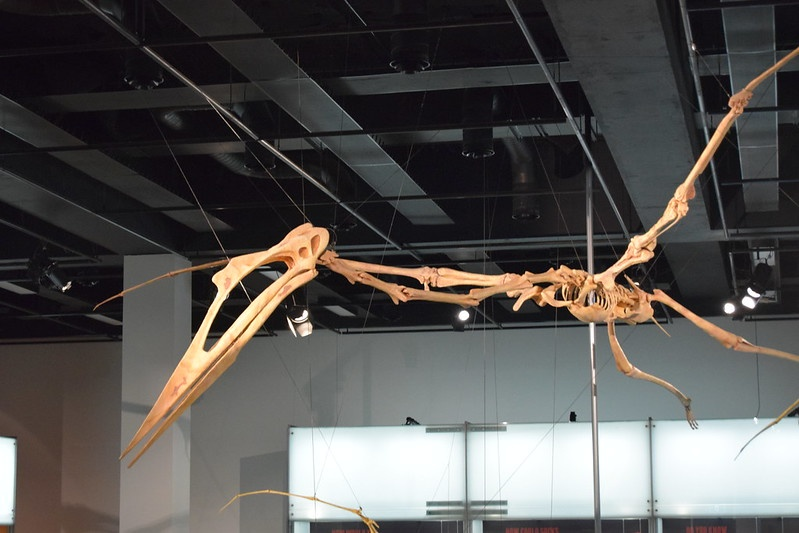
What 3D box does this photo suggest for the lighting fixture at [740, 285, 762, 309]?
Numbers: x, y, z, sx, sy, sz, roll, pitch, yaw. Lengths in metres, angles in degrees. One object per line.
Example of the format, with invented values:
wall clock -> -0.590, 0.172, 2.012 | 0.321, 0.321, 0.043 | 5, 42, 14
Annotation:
lighting fixture -> 4.271, 0.350, 13.276 | 0.149, 0.272, 0.155 | 29, -49, 12

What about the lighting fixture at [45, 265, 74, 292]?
lighting fixture -> -4.210, 0.131, 13.445 | 0.258, 0.252, 0.292 | 0, -19, -2

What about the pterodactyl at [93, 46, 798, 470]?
pterodactyl -> 0.377, 0.493, 9.497 | 4.659, 2.459, 2.226 | 0, -19, 0
